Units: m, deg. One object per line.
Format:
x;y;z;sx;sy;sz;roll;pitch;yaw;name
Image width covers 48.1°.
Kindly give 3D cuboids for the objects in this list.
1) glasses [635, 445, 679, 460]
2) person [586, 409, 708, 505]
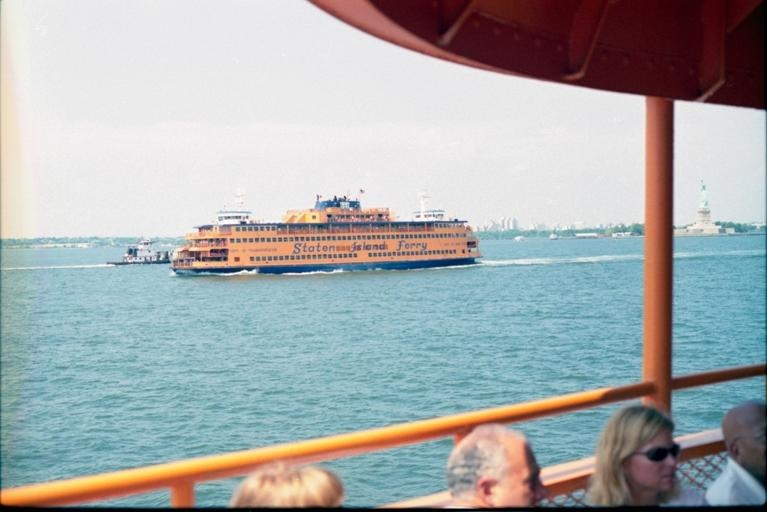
2.789;1.983;8.645;0.210;0.070;0.237;-2;-9;-18;glasses
2.645;1.989;9.087;1.001;1.073;1.160;-7;-4;44;person
